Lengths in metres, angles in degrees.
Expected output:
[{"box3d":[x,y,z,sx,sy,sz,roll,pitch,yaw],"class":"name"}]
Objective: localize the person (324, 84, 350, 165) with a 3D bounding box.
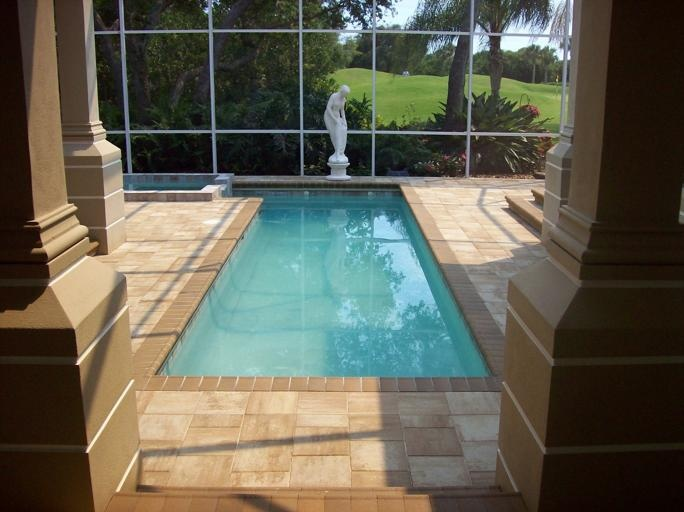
[{"box3d":[-0.142,-3.076,11.323,0.507,1.666,0.744,-1,16,-1],"class":"person"}]
